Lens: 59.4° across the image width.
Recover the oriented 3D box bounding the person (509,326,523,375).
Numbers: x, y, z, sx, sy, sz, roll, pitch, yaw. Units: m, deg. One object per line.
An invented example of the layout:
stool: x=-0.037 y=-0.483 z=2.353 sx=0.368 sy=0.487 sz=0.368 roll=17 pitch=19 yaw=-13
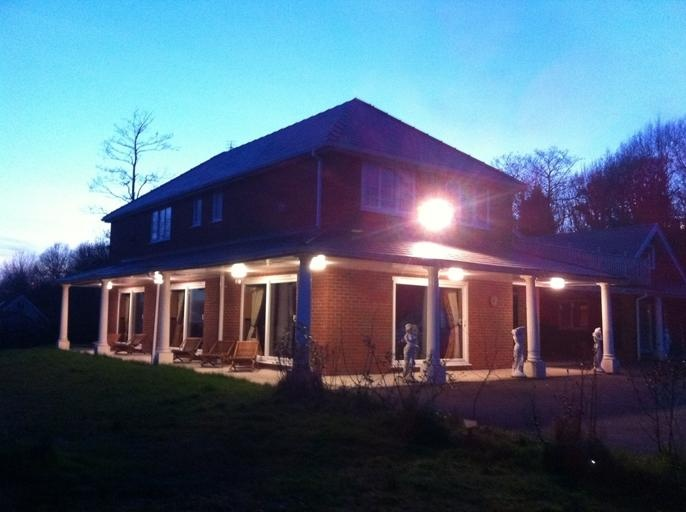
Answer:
person: x=5.635 y=3.049 z=19.245 sx=0.394 sy=1.557 sz=0.539 roll=-2 pitch=-10 yaw=17

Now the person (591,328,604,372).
person: x=9.134 y=3.294 z=21.534 sx=0.438 sy=1.515 sz=0.391 roll=0 pitch=-6 yaw=12
